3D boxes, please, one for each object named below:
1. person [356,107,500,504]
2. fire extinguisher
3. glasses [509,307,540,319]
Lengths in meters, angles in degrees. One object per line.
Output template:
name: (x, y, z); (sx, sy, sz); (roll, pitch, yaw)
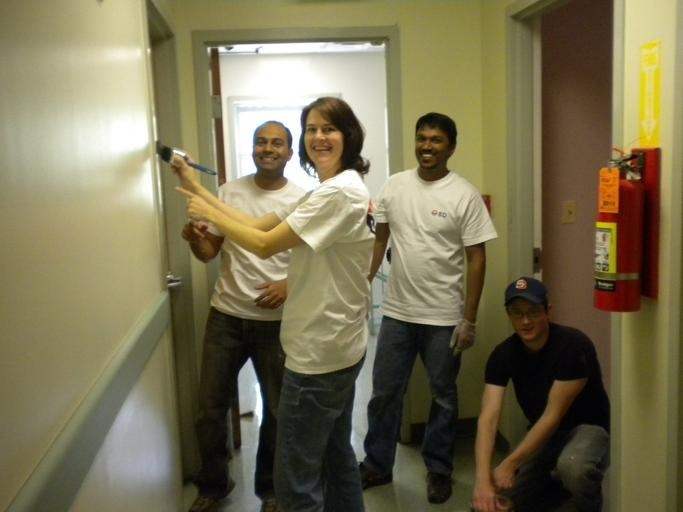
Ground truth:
person: (0.442, 0.273, 3.111); (0.617, 2.129, 0.616); (0, 4, 4)
fire extinguisher: (1.029, -0.071, 2.053); (0.169, 0.600, 0.144); (1, 10, 15)
glasses: (0.807, 0.249, 2.465); (0.135, 0.054, 0.032); (2, 11, 22)
